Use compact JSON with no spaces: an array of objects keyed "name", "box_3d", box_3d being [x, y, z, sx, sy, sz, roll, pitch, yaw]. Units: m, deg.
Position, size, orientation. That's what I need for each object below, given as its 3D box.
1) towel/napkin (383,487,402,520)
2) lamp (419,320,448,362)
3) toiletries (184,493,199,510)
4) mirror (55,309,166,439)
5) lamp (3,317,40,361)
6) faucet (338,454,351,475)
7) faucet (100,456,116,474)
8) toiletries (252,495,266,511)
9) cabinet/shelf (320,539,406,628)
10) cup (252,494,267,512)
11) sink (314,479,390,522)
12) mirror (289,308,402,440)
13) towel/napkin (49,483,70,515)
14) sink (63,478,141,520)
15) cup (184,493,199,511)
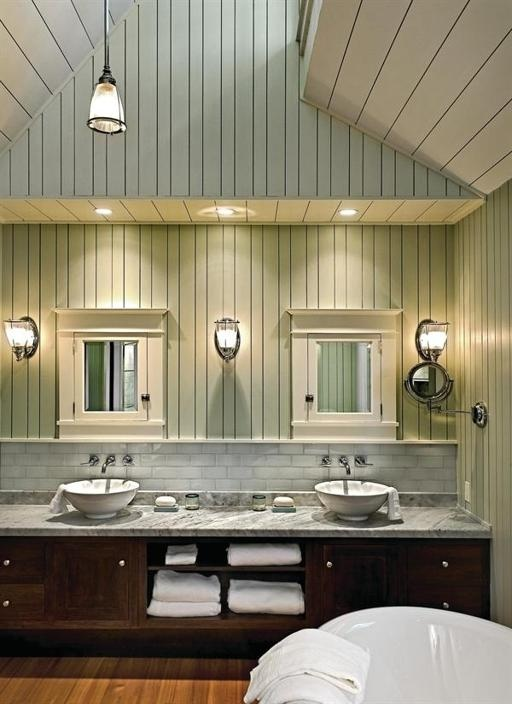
[{"name":"towel/napkin","box_3d":[0.775,0.867,3.314,0.110,0.182,0.050,0,-8,-14]},{"name":"lamp","box_3d":[1.117,-0.061,3.690,0.166,0.260,0.207,1,-2,-44]},{"name":"toiletries","box_3d":[-0.392,0.917,3.545,0.075,0.100,0.078,1,-1,-31]},{"name":"mirror","box_3d":[-0.939,0.126,3.737,0.646,0.895,0.205,-1,28,-19]},{"name":"lamp","box_3d":[-1.532,-0.079,3.706,0.214,0.290,0.192,0,-1,9]},{"name":"faucet","box_3d":[0.548,0.699,3.587,0.043,0.064,0.148,0,-4,1]},{"name":"faucet","box_3d":[-0.930,0.724,3.627,0.080,0.124,0.239,0,-1,-10]},{"name":"toiletries","box_3d":[0.013,0.922,3.558,0.068,0.090,0.071,1,0,2]},{"name":"cabinet/shelf","box_3d":[0.571,1.210,3.307,0.499,0.598,0.342,0,-8,-2]},{"name":"cup","box_3d":[0.012,0.929,3.565,0.070,0.093,0.074,1,0,0]},{"name":"sink","box_3d":[0.568,0.876,3.413,0.418,0.184,0.535,0,-1,7]},{"name":"mirror","box_3d":[0.554,0.132,3.729,0.695,1.000,0.219,-1,33,9]},{"name":"towel/napkin","box_3d":[-1.157,0.871,3.412,0.086,0.182,0.169,0,-6,22]},{"name":"sink","box_3d":[-0.927,0.876,3.439,0.412,0.194,0.562,0,-1,-16]},{"name":"cup","box_3d":[-0.394,0.916,3.544,0.078,0.104,0.080,0,-3,0]}]
